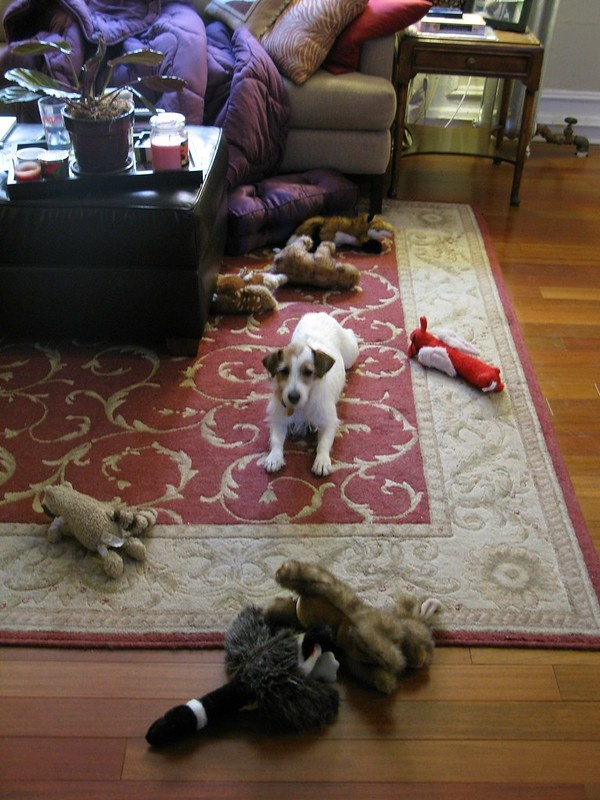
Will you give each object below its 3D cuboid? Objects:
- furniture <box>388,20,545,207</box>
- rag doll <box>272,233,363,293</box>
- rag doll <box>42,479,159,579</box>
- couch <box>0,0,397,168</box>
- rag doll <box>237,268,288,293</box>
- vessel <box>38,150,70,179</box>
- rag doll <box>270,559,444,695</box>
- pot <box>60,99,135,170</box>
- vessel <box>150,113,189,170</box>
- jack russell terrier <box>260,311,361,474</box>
[{"bbox_3d":[0.779,-1.482,3.435,0.779,0.928,0.924,2,43,4],"label":"furniture"},{"bbox_3d":[0.066,-0.550,2.595,0.390,0.176,0.280,3,39,12],"label":"rag doll"},{"bbox_3d":[-0.466,0.290,1.501,0.247,0.115,0.169,20,39,18],"label":"rag doll"},{"bbox_3d":[-0.361,-1.243,2.608,1.054,0.463,0.639,13,58,5],"label":"couch"},{"bbox_3d":[-0.146,-0.451,2.465,0.218,0.103,0.079,3,80,0],"label":"rag doll"},{"bbox_3d":[-0.738,-0.714,2.008,0.098,0.080,0.086,-13,44,-15],"label":"vessel"},{"bbox_3d":[0.092,0.407,1.265,0.329,0.193,0.198,32,69,-10],"label":"rag doll"},{"bbox_3d":[-0.598,-0.800,1.999,0.172,0.132,0.175,0,35,0],"label":"pot"},{"bbox_3d":[-0.417,-0.814,2.090,0.122,0.153,0.160,15,38,11],"label":"vessel"},{"bbox_3d":[0.054,-0.071,1.817,0.190,0.226,0.502,2,40,7],"label":"jack russell terrier"}]
